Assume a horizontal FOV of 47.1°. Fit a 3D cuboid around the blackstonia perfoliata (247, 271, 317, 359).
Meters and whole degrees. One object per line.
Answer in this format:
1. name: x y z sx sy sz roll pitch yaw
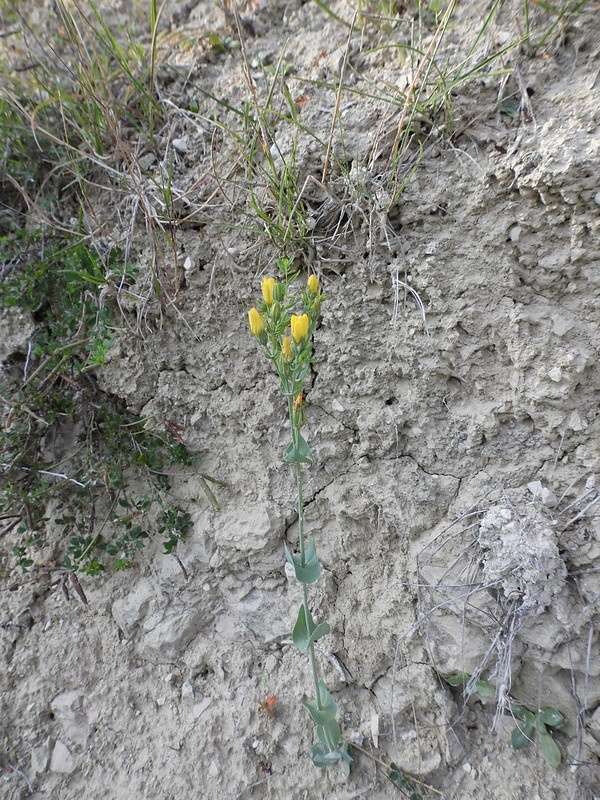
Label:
1. blackstonia perfoliata: -0.040 -0.251 2.037 0.176 0.199 0.229 2 53 30
